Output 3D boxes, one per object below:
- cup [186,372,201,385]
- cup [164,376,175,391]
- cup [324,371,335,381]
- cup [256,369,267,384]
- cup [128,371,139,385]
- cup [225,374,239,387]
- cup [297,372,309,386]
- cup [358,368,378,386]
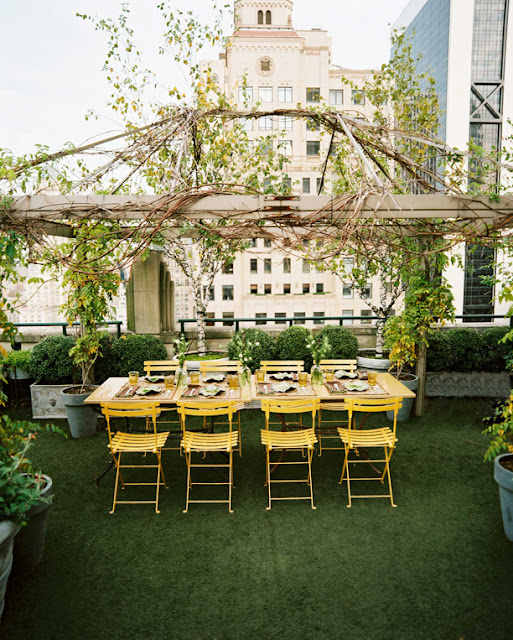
[{"bbox_3d":[-0.657,0.595,5.356,0.133,0.137,0.131,-1,-4,0],"label":"cup"},{"bbox_3d":[-0.862,0.630,5.221,0.115,0.119,0.109,2,10,0],"label":"cup"},{"bbox_3d":[0.758,0.589,5.496,0.087,0.092,0.088,0,-3,0],"label":"cup"},{"bbox_3d":[0.046,0.583,5.438,0.112,0.188,0.110,-1,7,0],"label":"cup"},{"bbox_3d":[-1.249,0.575,5.354,0.131,0.133,0.127,4,16,-1],"label":"cup"},{"bbox_3d":[-0.253,0.614,5.252,0.102,0.078,0.100,0,-3,0],"label":"cup"},{"bbox_3d":[0.483,0.596,5.274,0.114,0.121,0.116,1,-2,0],"label":"cup"},{"bbox_3d":[1.151,0.590,5.371,0.117,0.121,0.171,0,1,1],"label":"cup"}]
